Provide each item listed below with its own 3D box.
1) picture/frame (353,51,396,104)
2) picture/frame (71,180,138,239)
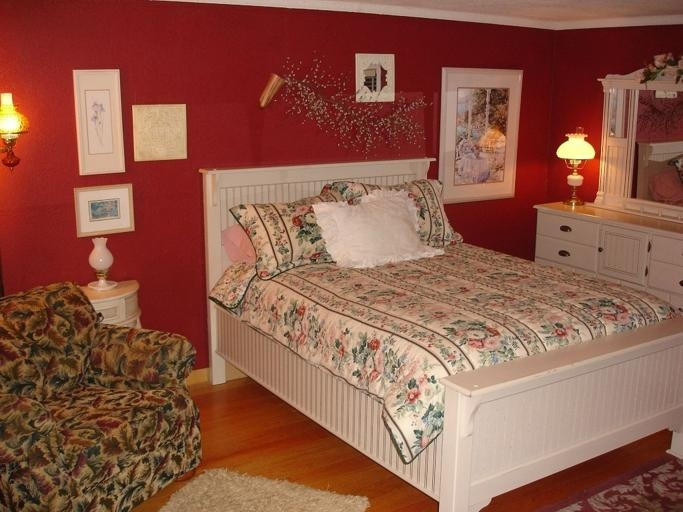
[{"bbox_3d":[0.259,-1.485,4.496,0.473,0.438,0.018,-8,16,-34],"label":"picture/frame"},{"bbox_3d":[-1.628,-0.320,3.701,0.402,0.322,0.029,-10,16,-29],"label":"picture/frame"}]
